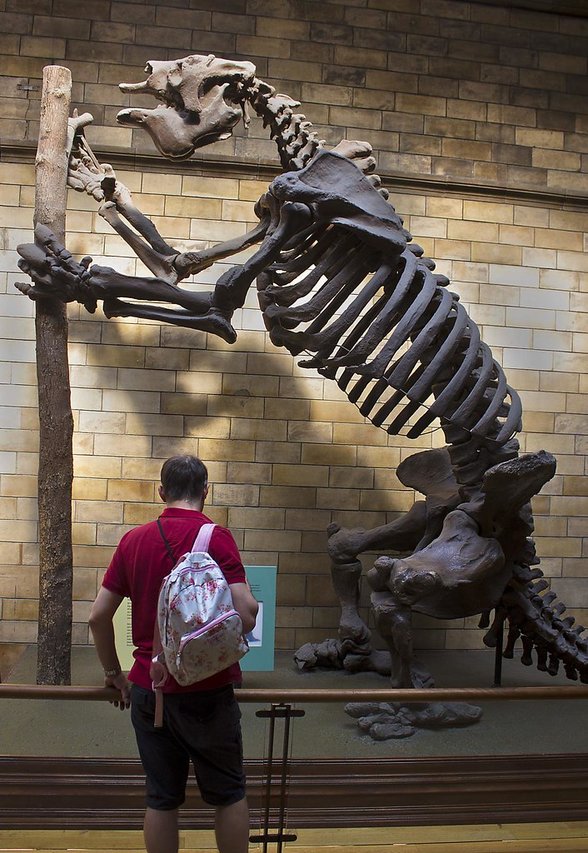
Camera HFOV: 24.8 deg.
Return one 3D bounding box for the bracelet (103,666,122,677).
[{"bbox_3d":[-0.793,1.083,5.913,0.064,0.028,0.055,-1,3,6],"label":"bracelet"}]
